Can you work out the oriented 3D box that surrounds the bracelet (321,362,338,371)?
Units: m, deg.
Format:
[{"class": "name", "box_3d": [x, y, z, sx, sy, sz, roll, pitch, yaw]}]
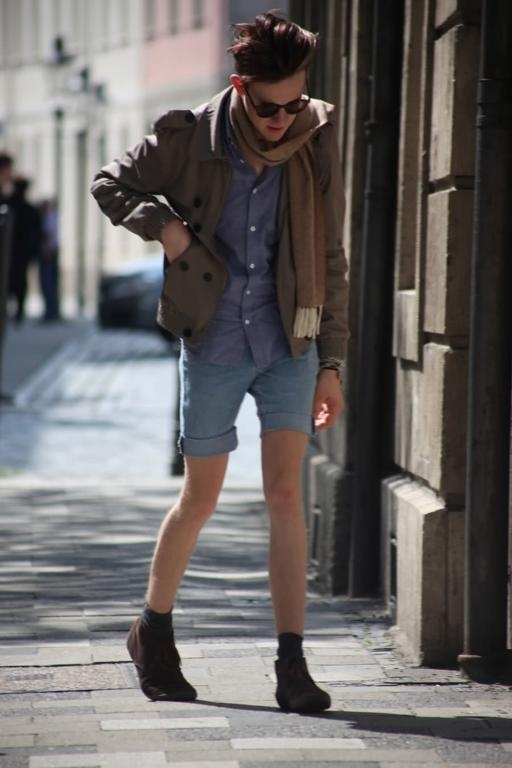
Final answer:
[{"class": "bracelet", "box_3d": [0.203, -0.053, 3.572, 0.037, 0.030, 0.028, -14, 32, -39]}]

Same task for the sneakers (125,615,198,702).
[{"class": "sneakers", "box_3d": [-0.281, 0.723, 3.507, 0.104, 0.125, 0.300, -4, 29, -25]}]

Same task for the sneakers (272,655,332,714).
[{"class": "sneakers", "box_3d": [0.113, 0.778, 3.311, 0.158, 0.135, 0.102, 3, 4, 12]}]

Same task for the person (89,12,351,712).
[{"class": "person", "box_3d": [-0.090, -0.051, 3.406, 0.675, 1.777, 0.534, 2, 4, 0]}]

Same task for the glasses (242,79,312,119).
[{"class": "glasses", "box_3d": [0.049, -0.700, 3.209, 0.192, 0.082, 0.097, 1, 5, -19]}]
